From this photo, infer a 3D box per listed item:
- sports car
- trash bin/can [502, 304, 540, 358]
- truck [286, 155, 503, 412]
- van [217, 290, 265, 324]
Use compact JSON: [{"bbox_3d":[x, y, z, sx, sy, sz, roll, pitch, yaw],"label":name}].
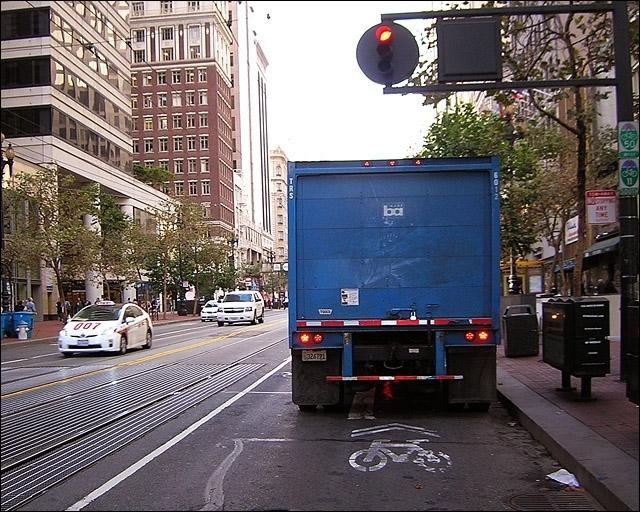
[{"bbox_3d":[-7.364,2.433,22.730,2.161,1.681,3.951,-1,-2,6],"label":"sports car"},{"bbox_3d":[5.299,1.964,17.192,0.911,1.299,0.719,-1,-2,3],"label":"trash bin/can"},{"bbox_3d":[1.142,0.382,9.961,3.184,3.681,0.531,-2,-2,3],"label":"truck"},{"bbox_3d":[-5.055,3.341,42.307,2.087,2.150,3.457,-2,-2,11],"label":"van"}]
